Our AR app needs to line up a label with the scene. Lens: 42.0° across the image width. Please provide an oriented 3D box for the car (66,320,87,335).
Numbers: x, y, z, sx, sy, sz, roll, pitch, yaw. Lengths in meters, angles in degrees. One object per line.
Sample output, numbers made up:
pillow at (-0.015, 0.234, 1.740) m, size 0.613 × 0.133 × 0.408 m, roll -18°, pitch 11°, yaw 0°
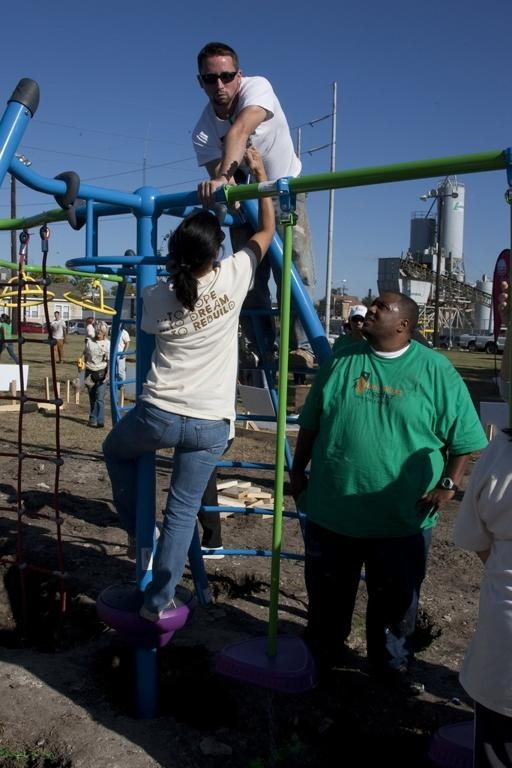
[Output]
car at (-15.782, -4.635, 58.828) m, size 1.809 × 1.424 × 2.477 m, roll 2°, pitch 9°, yaw -6°

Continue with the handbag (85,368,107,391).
handbag at (-2.866, -0.106, 11.972) m, size 0.499 × 0.450 × 0.307 m, roll 7°, pitch 7°, yaw 31°

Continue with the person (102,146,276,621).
person at (-0.344, 0.121, 2.769) m, size 0.512 × 1.650 × 0.481 m, roll 4°, pitch 3°, yaw 23°

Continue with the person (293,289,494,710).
person at (0.527, 0.453, 2.833) m, size 0.807 × 1.686 × 0.441 m, roll 4°, pitch 3°, yaw 11°

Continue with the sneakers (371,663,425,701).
sneakers at (0.637, 1.317, 2.940) m, size 0.280 × 0.082 × 0.165 m, roll 30°, pitch -15°, yaw -29°

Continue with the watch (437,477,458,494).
watch at (0.754, 0.398, 2.628) m, size 0.066 × 0.044 × 0.070 m, roll 14°, pitch 3°, yaw -28°
